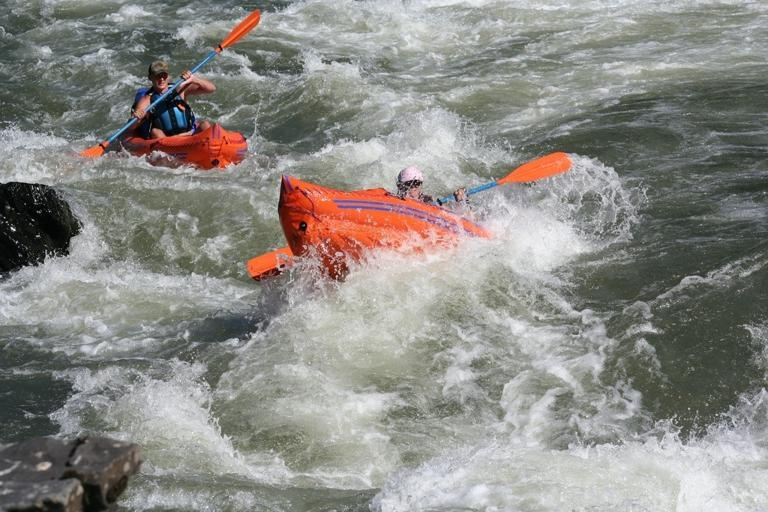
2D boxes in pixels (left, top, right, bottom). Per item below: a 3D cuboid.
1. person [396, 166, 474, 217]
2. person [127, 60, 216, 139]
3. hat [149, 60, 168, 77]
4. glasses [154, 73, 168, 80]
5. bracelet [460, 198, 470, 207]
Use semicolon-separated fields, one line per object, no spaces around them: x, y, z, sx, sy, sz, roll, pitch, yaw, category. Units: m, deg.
0.722;-1.050;16.754;1.200;0.414;0.671;3;-7;14;person
-3.634;-2.556;19.171;1.601;1.236;1.085;-16;19;-32;person
-3.836;-3.126;19.186;0.327;0.200;0.424;-7;-5;-18;hat
-3.727;-2.976;19.034;0.124;0.060;0.146;-25;-17;-11;glasses
1.198;-0.775;16.859;0.144;0.089;0.128;2;16;-4;bracelet
